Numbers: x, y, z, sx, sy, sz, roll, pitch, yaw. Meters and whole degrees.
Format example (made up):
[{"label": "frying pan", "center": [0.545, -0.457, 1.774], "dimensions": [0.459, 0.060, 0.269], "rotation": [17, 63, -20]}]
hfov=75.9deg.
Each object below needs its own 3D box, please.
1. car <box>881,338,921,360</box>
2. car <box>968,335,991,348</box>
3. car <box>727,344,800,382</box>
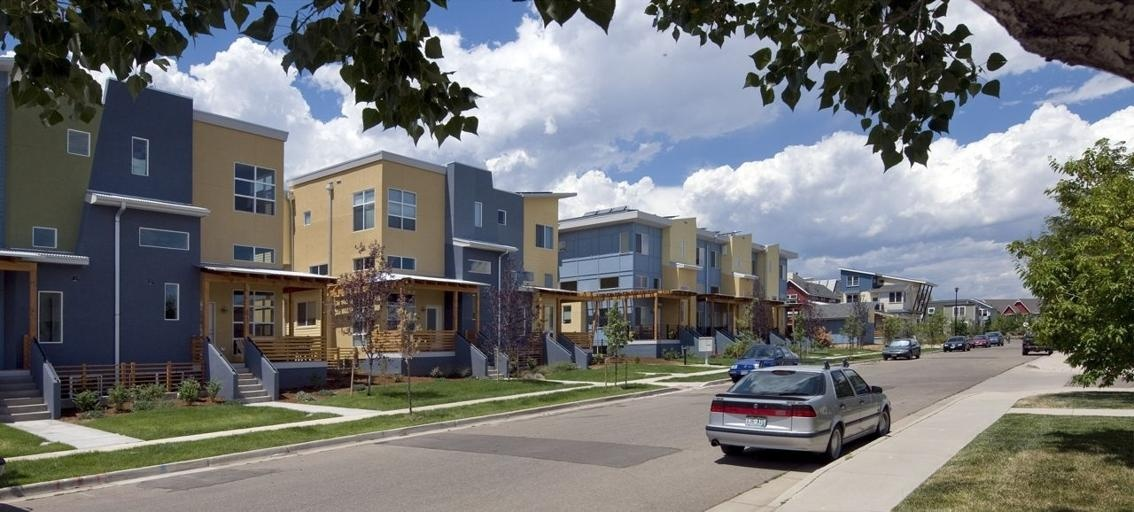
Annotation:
[{"label": "car", "center": [29.279, 8.124, 63.993], "dimensions": [3.531, 1.856, 1.590], "rotation": [2, -13, -23]}, {"label": "car", "center": [48.667, 10.031, 86.243], "dimensions": [3.093, 1.475, 1.493], "rotation": [8, -16, -42]}, {"label": "car", "center": [12.380, 6.481, 45.539], "dimensions": [2.744, 1.772, 5.937], "rotation": [-8, -11, 38]}]
